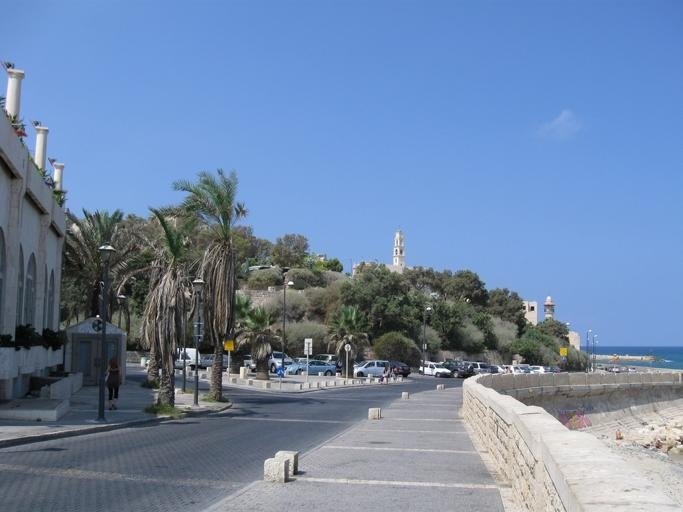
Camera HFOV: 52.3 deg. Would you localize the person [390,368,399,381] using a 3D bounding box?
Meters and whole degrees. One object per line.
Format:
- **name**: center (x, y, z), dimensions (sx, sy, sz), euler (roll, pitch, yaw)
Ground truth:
- **person**: center (4.292, 9.446, 55.760), dimensions (0.713, 1.608, 0.809), euler (-1, 0, 10)
